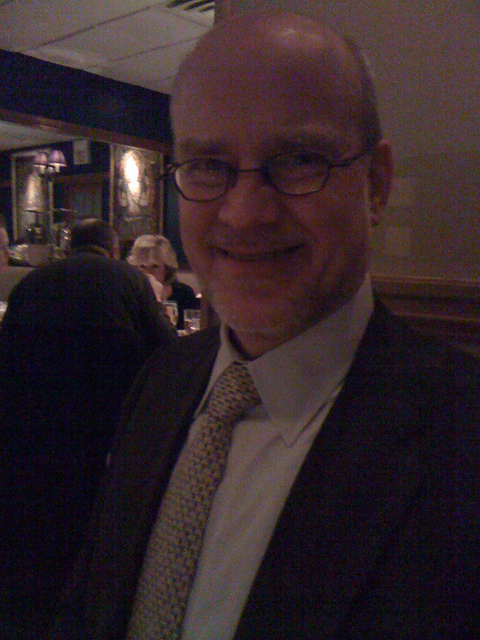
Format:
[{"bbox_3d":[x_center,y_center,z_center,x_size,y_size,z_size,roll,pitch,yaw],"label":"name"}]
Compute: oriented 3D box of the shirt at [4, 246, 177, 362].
[{"bbox_3d":[-0.207,-0.011,0.740,0.370,0.149,0.108,8,8,38],"label":"shirt"}]
